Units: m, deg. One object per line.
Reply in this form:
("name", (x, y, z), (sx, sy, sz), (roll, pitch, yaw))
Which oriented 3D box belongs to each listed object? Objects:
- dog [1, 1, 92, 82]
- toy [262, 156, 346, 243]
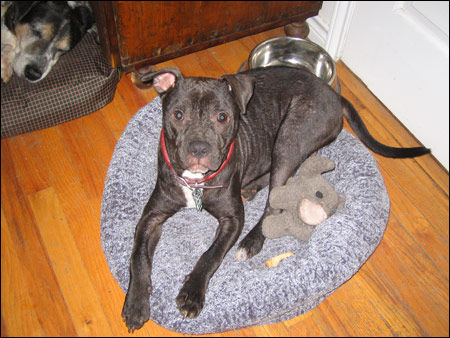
("dog", (-1.579, -1.143, 3.305), (0.864, 0.536, 0.463), (-15, 47, -15))
("toy", (0.528, 0.230, 2.489), (0.484, 0.567, 0.356), (18, 48, 17))
